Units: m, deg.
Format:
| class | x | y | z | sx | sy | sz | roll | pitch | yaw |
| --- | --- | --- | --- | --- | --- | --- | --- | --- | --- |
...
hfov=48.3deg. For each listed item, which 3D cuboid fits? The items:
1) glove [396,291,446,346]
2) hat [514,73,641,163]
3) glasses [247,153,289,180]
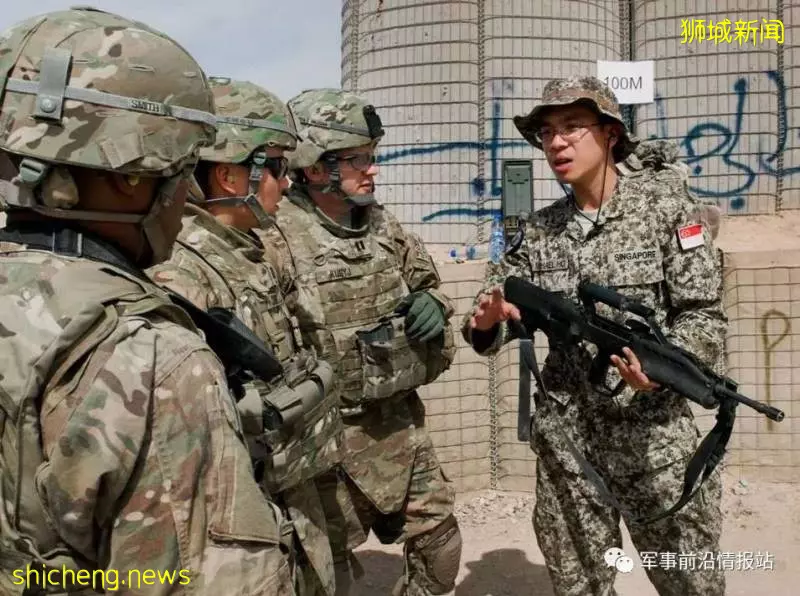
| class | x | y | z | sx | sy | sz | roll | pitch | yaw |
| --- | --- | --- | --- | --- | --- | --- | --- | --- | --- |
| glove | 0.110 | 0.104 | 4.668 | 0.225 | 0.250 | 0.102 | -5 | 1 | -18 |
| hat | 0.944 | -0.906 | 4.401 | 0.550 | 0.290 | 0.454 | 17 | -21 | -32 |
| glasses | -0.590 | -0.610 | 4.023 | 0.110 | 0.126 | 0.049 | 8 | 9 | -46 |
